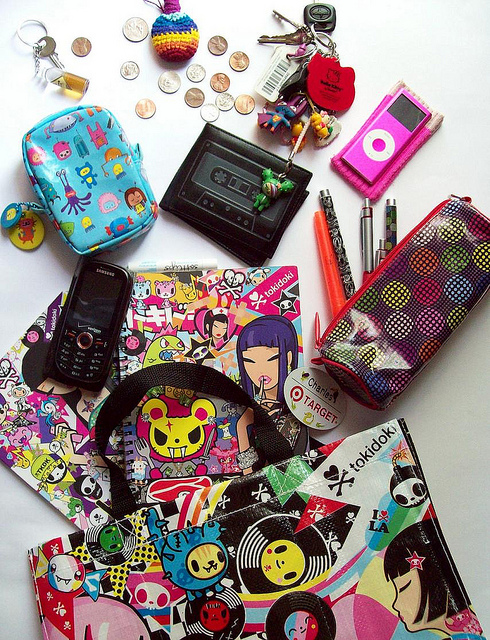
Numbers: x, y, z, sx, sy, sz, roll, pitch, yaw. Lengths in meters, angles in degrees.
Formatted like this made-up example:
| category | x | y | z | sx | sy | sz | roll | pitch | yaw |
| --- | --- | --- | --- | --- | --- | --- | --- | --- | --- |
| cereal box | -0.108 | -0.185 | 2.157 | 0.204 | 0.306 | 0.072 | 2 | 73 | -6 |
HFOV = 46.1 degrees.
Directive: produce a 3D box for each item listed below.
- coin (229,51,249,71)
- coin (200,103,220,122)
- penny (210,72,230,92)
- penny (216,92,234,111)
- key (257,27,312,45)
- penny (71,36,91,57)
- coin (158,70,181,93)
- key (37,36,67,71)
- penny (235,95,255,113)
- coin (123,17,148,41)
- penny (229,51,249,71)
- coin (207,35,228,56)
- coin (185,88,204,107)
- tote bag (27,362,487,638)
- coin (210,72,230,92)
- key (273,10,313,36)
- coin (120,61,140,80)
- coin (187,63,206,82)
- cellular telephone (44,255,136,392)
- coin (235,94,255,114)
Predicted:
| category | x | y | z | sx | sy | sz | roll | pitch | yaw |
| --- | --- | --- | --- | --- | --- | --- | --- | --- | --- |
| coin | -0.010 | -0.349 | 0.779 | 0.024 | 0.003 | 0.022 | 0 | 93 | -5 |
| coin | -0.048 | -0.279 | 0.775 | 0.022 | 0.013 | 0.024 | 2 | 60 | -3 |
| penny | -0.036 | -0.320 | 0.776 | 0.028 | 0.004 | 0.025 | 5 | 96 | -19 |
| penny | -0.028 | -0.294 | 0.777 | 0.023 | 0.011 | 0.021 | -35 | 68 | -22 |
| key | 0.058 | -0.377 | 0.774 | 0.083 | 0.011 | 0.023 | -4 | 94 | 6 |
| penny | -0.216 | -0.360 | 0.760 | 0.026 | 0.005 | 0.024 | -26 | 93 | -2 |
| coin | -0.103 | -0.319 | 0.772 | 0.025 | 0.003 | 0.024 | -1 | 94 | -15 |
| key | -0.255 | -0.345 | 0.751 | 0.025 | 0.030 | 0.041 | -24 | 65 | -17 |
| penny | -0.002 | -0.292 | 0.780 | 0.025 | 0.005 | 0.023 | -22 | 90 | -8 |
| coin | -0.147 | -0.386 | 0.765 | 0.023 | 0.023 | 0.022 | 0 | 99 | -2 |
| penny | -0.010 | -0.349 | 0.779 | 0.023 | 0.003 | 0.021 | 24 | 91 | -4 |
| coin | -0.037 | -0.369 | 0.776 | 0.026 | 0.014 | 0.022 | -15 | 62 | -13 |
| coin | -0.068 | -0.298 | 0.774 | 0.024 | 0.012 | 0.023 | 2 | 60 | -3 |
| tote bag | 0.027 | 0.230 | 0.672 | 0.522 | 0.107 | 0.322 | 10 | 59 | 2 |
| coin | -0.036 | -0.321 | 0.776 | 0.022 | 0.003 | 0.021 | 0 | 90 | -12 |
| key | 0.063 | -0.401 | 0.781 | 0.056 | 0.017 | 0.012 | 30 | 110 | 4 |
| coin | -0.154 | -0.332 | 0.768 | 0.023 | 0.013 | 0.022 | 2 | 60 | -3 |
| coin | -0.066 | -0.332 | 0.774 | 0.022 | 0.014 | 0.022 | 2 | 60 | -3 |
| cellular telephone | -0.199 | 0.003 | 0.724 | 0.103 | 0.042 | 0.172 | 13 | 89 | -7 |
| coin | -0.001 | -0.291 | 0.780 | 0.027 | 0.005 | 0.025 | 8 | 86 | -7 |
